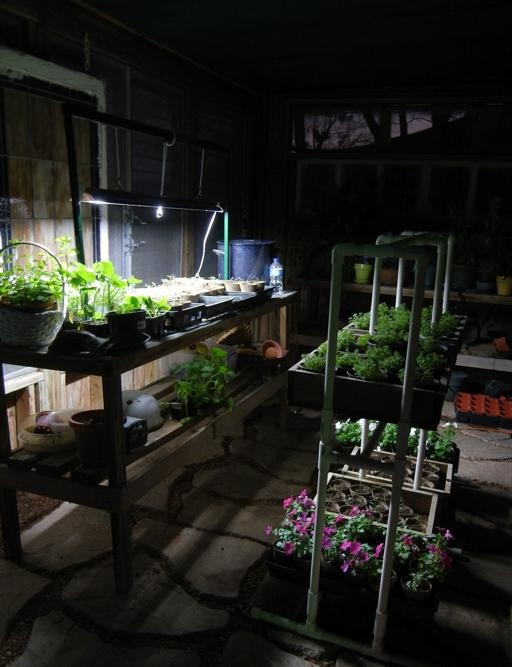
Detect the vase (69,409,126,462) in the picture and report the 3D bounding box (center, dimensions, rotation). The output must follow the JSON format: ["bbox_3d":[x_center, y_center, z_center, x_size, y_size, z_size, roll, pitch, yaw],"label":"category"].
[{"bbox_3d":[-0.642,0.426,2.071,0.206,0.168,0.201,1,2,10],"label":"vase"}]

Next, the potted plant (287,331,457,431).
[{"bbox_3d":[0.381,0.187,1.772,0.525,0.168,0.369,6,12,25],"label":"potted plant"}]

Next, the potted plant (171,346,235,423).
[{"bbox_3d":[-0.279,0.262,2.720,0.348,0.224,0.338,5,14,9],"label":"potted plant"}]

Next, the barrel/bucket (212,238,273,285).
[{"bbox_3d":[-0.099,-0.498,3.630,0.329,0.264,0.376,9,13,38],"label":"barrel/bucket"}]

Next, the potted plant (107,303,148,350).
[{"bbox_3d":[-0.488,-0.010,1.934,0.132,0.103,0.152,2,7,11],"label":"potted plant"}]

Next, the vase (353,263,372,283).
[{"bbox_3d":[0.961,-0.540,4.640,0.177,0.177,0.169,0,12,-6],"label":"vase"}]

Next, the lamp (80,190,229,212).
[{"bbox_3d":[-0.486,-0.666,2.615,0.077,0.085,1.234,5,11,18],"label":"lamp"}]

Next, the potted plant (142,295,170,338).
[{"bbox_3d":[-0.383,-0.067,2.187,0.130,0.161,0.166,6,16,19],"label":"potted plant"}]

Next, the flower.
[{"bbox_3d":[0.401,0.775,1.988,0.657,0.169,0.471,5,11,20],"label":"flower"}]
